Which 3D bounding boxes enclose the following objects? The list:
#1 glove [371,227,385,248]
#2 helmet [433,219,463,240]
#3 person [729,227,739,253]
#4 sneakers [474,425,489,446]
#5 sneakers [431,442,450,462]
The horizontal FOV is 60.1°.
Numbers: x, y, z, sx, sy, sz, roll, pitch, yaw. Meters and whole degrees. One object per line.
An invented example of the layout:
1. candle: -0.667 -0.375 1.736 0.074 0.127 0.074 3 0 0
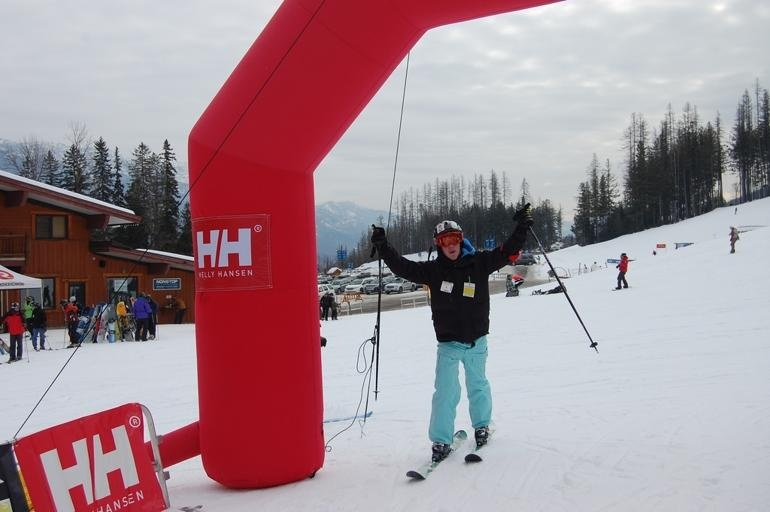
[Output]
1. glove: -0.079 -0.233 8.336 0.159 0.214 0.216 0 6 12
2. helmet: 0.811 -0.350 8.628 0.229 0.321 0.270 -3 1 7
3. person: 14.907 -0.717 28.517 0.283 1.051 3.095 -3 2 27
4. sneakers: 1.215 2.303 8.466 0.174 0.216 0.227 -3 -23 5
5. sneakers: 0.671 2.414 8.193 0.175 0.242 0.109 6 -17 17
